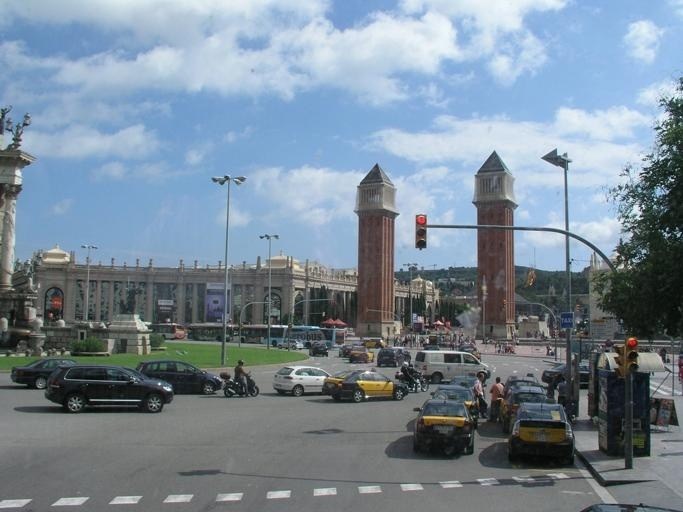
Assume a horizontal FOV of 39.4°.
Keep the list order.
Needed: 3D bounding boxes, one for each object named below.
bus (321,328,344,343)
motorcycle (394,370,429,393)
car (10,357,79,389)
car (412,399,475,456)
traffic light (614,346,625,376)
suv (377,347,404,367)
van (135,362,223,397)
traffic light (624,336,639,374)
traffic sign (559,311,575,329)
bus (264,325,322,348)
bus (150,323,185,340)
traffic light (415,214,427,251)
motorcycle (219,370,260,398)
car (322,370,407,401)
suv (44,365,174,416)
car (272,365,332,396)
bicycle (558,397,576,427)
[{"bbox_3d":[-0.868,8.621,103.018,1.789,1.805,4.848,-1,-7,9],"label":"bus"},{"bbox_3d":[3.714,6.548,49.421,1.812,1.036,0.799,2,0,-34],"label":"motorcycle"},{"bbox_3d":[-13.615,5.831,45.240,2.808,1.829,2.995,-1,-3,-37],"label":"car"},{"bbox_3d":[3.578,6.088,33.707,2.051,1.820,1.062,0,-7,3],"label":"car"},{"bbox_3d":[9.394,3.541,32.381,0.314,1.047,0.892,-2,-7,15],"label":"traffic light"},{"bbox_3d":[3.623,7.372,69.454,1.835,1.470,4.255,-2,-7,11],"label":"suv"},{"bbox_3d":[-7.561,5.870,45.638,3.494,1.739,3.412,-2,-3,0],"label":"van"},{"bbox_3d":[9.689,3.306,32.199,0.402,1.200,0.611,-2,-7,21],"label":"traffic light"},{"bbox_3d":[9.890,2.787,42.097,0.540,0.724,1.206,-2,-7,14],"label":"traffic sign"},{"bbox_3d":[-5.006,8.550,102.413,7.426,2.341,2.258,0,-5,34],"label":"bus"},{"bbox_3d":[-19.913,8.656,111.061,3.514,2.437,10.976,1,-7,-6],"label":"bus"},{"bbox_3d":[3.143,-0.954,37.432,0.394,1.290,0.233,2,-7,-13],"label":"traffic light"},{"bbox_3d":[-4.752,6.191,45.723,1.796,1.157,0.876,1,-1,-20],"label":"motorcycle"},{"bbox_3d":[1.192,6.177,45.361,3.556,1.460,1.209,3,-7,-22],"label":"car"},{"bbox_3d":[-9.473,5.614,39.942,4.493,1.698,2.131,1,-3,-13],"label":"suv"},{"bbox_3d":[-1.869,6.060,46.401,3.324,1.336,1.387,2,-4,-36],"label":"car"},{"bbox_3d":[8.579,6.004,36.617,0.621,1.487,0.520,-4,-18,10],"label":"bicycle"}]
